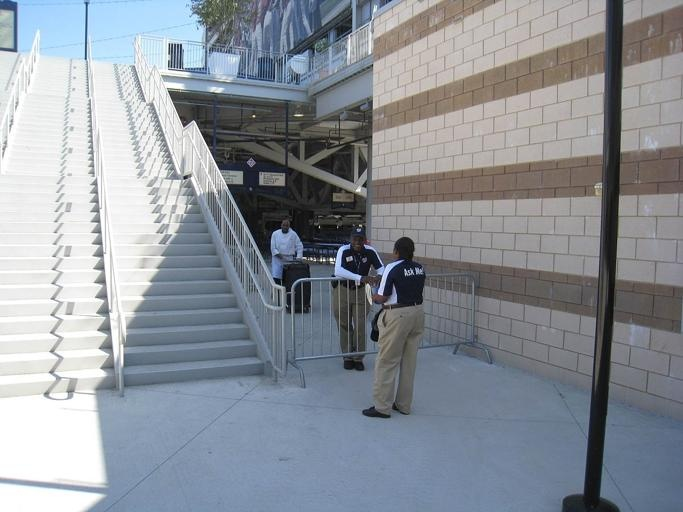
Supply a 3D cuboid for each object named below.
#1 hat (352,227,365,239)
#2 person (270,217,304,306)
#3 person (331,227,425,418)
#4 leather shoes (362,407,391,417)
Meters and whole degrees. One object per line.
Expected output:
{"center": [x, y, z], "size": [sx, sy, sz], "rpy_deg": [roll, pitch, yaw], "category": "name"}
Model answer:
{"center": [0.261, -0.316, 7.579], "size": [0.178, 0.159, 0.308], "rpy_deg": [6, -3, 5], "category": "hat"}
{"center": [-1.268, 0.026, 11.958], "size": [0.673, 1.738, 0.638], "rpy_deg": [3, 28, -8], "category": "person"}
{"center": [0.626, 0.867, 6.157], "size": [0.701, 2.162, 0.378], "rpy_deg": [-1, 9, -7], "category": "person"}
{"center": [0.419, 1.859, 6.265], "size": [0.311, 0.150, 0.129], "rpy_deg": [4, 2, 17], "category": "leather shoes"}
